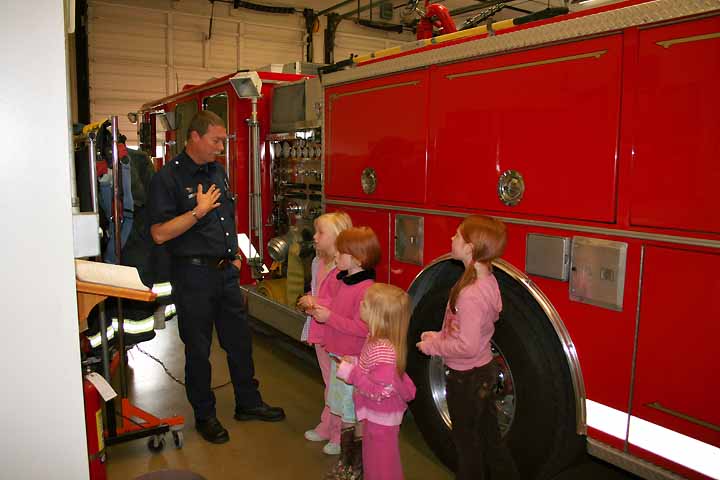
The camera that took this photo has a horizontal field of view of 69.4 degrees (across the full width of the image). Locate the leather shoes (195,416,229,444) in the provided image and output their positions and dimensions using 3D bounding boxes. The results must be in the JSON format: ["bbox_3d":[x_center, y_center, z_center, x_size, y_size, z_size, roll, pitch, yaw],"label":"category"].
[{"bbox_3d":[-1.086,1.379,3.851,0.120,0.140,0.307,-4,9,-45],"label":"leather shoes"}]

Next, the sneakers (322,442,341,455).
[{"bbox_3d":[-0.199,1.450,3.620,0.080,0.060,0.141,-2,-11,26],"label":"sneakers"}]

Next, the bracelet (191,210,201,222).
[{"bbox_3d":[-1.107,-0.168,3.543,0.022,0.074,0.075,-27,-7,-20],"label":"bracelet"}]

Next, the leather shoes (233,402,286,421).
[{"bbox_3d":[-0.775,1.350,4.019,0.360,0.167,0.151,-2,5,-2],"label":"leather shoes"}]
